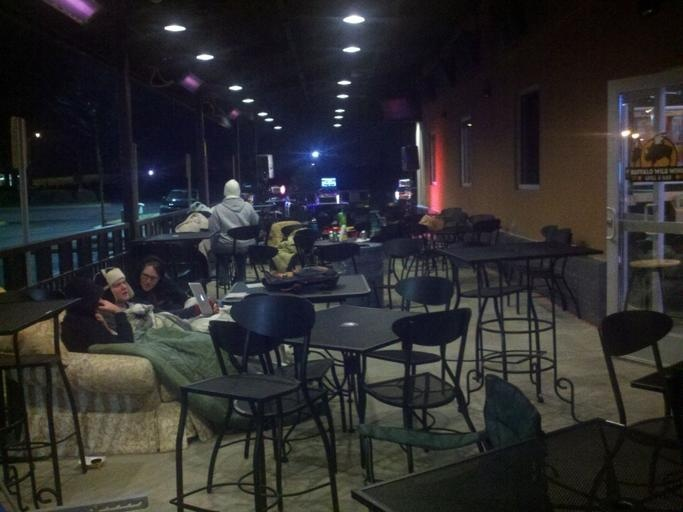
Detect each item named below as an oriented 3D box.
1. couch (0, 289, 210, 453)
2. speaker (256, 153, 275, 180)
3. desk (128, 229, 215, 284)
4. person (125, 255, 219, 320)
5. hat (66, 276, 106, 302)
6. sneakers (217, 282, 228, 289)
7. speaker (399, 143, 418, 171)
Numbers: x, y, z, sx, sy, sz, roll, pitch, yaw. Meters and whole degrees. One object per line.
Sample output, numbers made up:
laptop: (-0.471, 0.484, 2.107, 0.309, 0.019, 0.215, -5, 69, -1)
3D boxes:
couch: (-1.645, 0.726, 4.183, 1.215, 0.745, 1.221, 0, 5, -9)
speaker: (-2.456, -2.825, 17.936, 0.516, 0.753, 0.347, -12, 11, -29)
desk: (-2.393, 0.028, 7.890, 0.778, 0.788, 0.788, -1, 12, 5)
person: (-2.412, 0.147, 8.138, 1.079, 0.886, 1.079, 0, 7, -3)
hat: (-1.987, 0.248, 4.311, 0.243, 0.089, 0.210, 13, 14, 14)
sneakers: (-1.894, 0.470, 8.949, 0.166, 0.127, 0.168, 0, -1, -1)
speaker: (2.048, -2.914, 16.722, 0.468, 0.731, 1.856, -5, 9, 7)
